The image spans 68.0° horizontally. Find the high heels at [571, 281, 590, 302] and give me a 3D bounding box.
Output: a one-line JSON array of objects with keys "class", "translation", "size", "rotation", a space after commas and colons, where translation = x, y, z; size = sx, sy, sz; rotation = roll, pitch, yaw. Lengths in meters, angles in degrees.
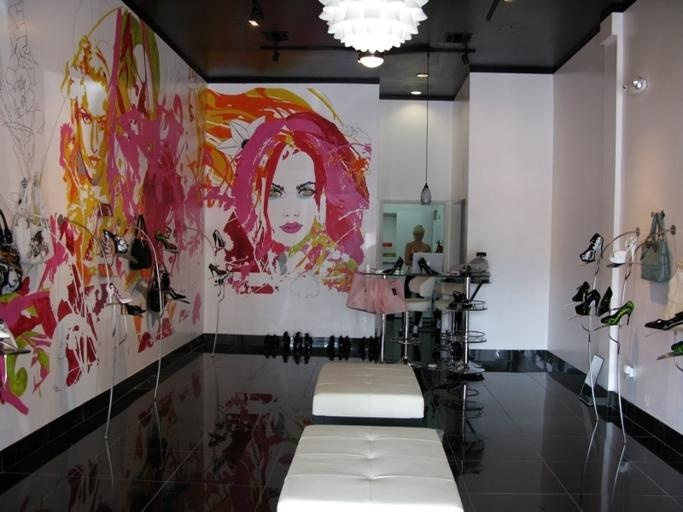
[{"class": "high heels", "translation": [2.820, 0.405, 5.949], "size": [0.106, 0.285, 0.093], "rotation": [8, 26, 11]}]

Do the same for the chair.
[{"class": "chair", "translation": [0.975, 0.881, 7.161], "size": [0.566, 1.312, 0.576], "rotation": [5, 0, 34]}]

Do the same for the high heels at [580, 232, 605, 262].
[{"class": "high heels", "translation": [2.888, -0.110, 5.799], "size": [0.551, 0.249, 0.177], "rotation": [-24, 9, -40]}]

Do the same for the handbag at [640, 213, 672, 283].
[{"class": "handbag", "translation": [3.160, -0.099, 5.062], "size": [0.089, 0.451, 0.382], "rotation": [0, 1, -6]}]

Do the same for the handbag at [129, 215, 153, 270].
[{"class": "handbag", "translation": [-2.395, -0.172, 6.096], "size": [0.189, 0.651, 0.383], "rotation": [0, 1, 1]}]

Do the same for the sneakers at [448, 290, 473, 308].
[{"class": "sneakers", "translation": [1.544, 0.570, 6.598], "size": [0.387, 0.298, 0.143], "rotation": [0, -1, 6]}]

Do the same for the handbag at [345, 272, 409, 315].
[{"class": "handbag", "translation": [0.507, 0.303, 6.683], "size": [0.749, 0.583, 0.480], "rotation": [4, 9, 12]}]

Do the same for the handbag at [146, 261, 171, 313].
[{"class": "handbag", "translation": [-2.310, 0.448, 6.372], "size": [0.213, 0.768, 0.259], "rotation": [3, 4, -23]}]

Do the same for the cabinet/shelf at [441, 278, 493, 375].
[{"class": "cabinet/shelf", "translation": [1.729, 0.936, 6.937], "size": [0.460, 1.231, 0.454], "rotation": [0, 1, -35]}]
